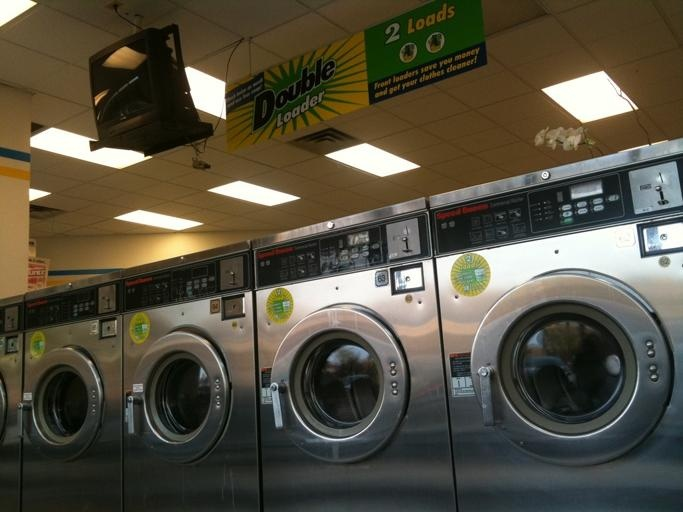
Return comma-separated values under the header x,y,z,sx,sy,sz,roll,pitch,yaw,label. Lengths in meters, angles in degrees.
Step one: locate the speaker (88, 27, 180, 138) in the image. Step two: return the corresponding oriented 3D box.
x,y,z,sx,sy,sz,roll,pitch,yaw,label
-1.481,-1.233,3.773,0.683,0.749,0.215,-5,-5,18,speaker
